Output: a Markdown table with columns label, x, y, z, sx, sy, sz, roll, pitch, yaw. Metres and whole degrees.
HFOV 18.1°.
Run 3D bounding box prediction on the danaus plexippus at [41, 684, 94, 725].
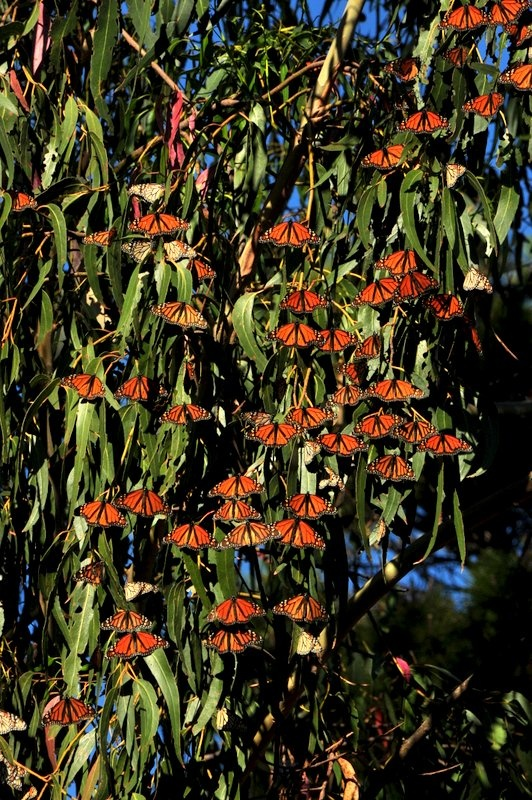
| label | x | y | z | sx | sy | sz | roll | pitch | yaw |
| --- | --- | --- | --- | --- | --- | --- | --- | --- | --- |
| danaus plexippus | -0.313 | 0.482 | 2.657 | 0.067 | 0.056 | 0.022 | -11 | 0 | 5 |

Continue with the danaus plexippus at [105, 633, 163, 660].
| label | x | y | z | sx | sy | sz | roll | pitch | yaw |
| --- | --- | --- | --- | --- | --- | --- | --- | --- | --- |
| danaus plexippus | -0.203 | 0.388 | 2.617 | 0.093 | 0.050 | 0.041 | 0 | 22 | 1 |

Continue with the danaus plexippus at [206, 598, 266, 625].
| label | x | y | z | sx | sy | sz | roll | pitch | yaw |
| --- | --- | --- | --- | --- | --- | --- | --- | --- | --- |
| danaus plexippus | -0.045 | 0.329 | 2.549 | 0.087 | 0.045 | 0.034 | -4 | 22 | -7 |
